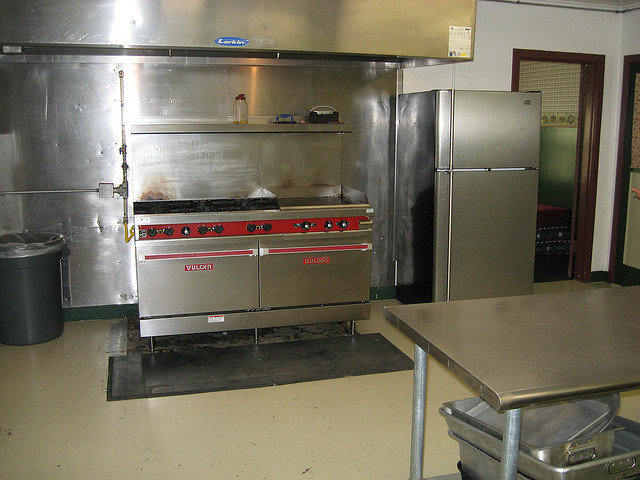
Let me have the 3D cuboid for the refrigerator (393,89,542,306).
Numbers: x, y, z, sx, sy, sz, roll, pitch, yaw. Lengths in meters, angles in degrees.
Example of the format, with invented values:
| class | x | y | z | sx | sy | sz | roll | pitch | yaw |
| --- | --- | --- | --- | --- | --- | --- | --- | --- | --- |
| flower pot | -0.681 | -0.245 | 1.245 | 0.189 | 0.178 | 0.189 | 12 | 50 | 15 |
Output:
| class | x | y | z | sx | sy | sz | roll | pitch | yaw |
| --- | --- | --- | --- | --- | --- | --- | --- | --- | --- |
| refrigerator | 1.428 | -0.393 | 5.566 | 1.332 | 2.435 | 1.229 | -2 | 8 | -17 |

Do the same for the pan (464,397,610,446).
| class | x | y | z | sx | sy | sz | roll | pitch | yaw |
| --- | --- | --- | --- | --- | --- | --- | --- | --- | --- |
| pan | 1.028 | 0.827 | 2.398 | 0.428 | 0.074 | 0.415 | -5 | 7 | -22 |

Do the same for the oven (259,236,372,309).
| class | x | y | z | sx | sy | sz | roll | pitch | yaw |
| --- | --- | --- | --- | --- | --- | --- | --- | --- | --- |
| oven | -0.103 | 0.238 | 4.706 | 1.081 | 0.584 | 0.583 | 1 | 13 | -20 |

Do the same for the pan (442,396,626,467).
| class | x | y | z | sx | sy | sz | roll | pitch | yaw |
| --- | --- | --- | --- | --- | --- | --- | --- | --- | --- |
| pan | 0.918 | 0.865 | 2.316 | 0.680 | 0.202 | 0.374 | 3 | 12 | 31 |

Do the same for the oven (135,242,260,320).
| class | x | y | z | sx | sy | sz | roll | pitch | yaw |
| --- | --- | --- | --- | --- | --- | --- | --- | --- | --- |
| oven | -1.055 | 0.241 | 4.620 | 1.174 | 0.615 | 0.657 | -2 | 9 | -15 |
